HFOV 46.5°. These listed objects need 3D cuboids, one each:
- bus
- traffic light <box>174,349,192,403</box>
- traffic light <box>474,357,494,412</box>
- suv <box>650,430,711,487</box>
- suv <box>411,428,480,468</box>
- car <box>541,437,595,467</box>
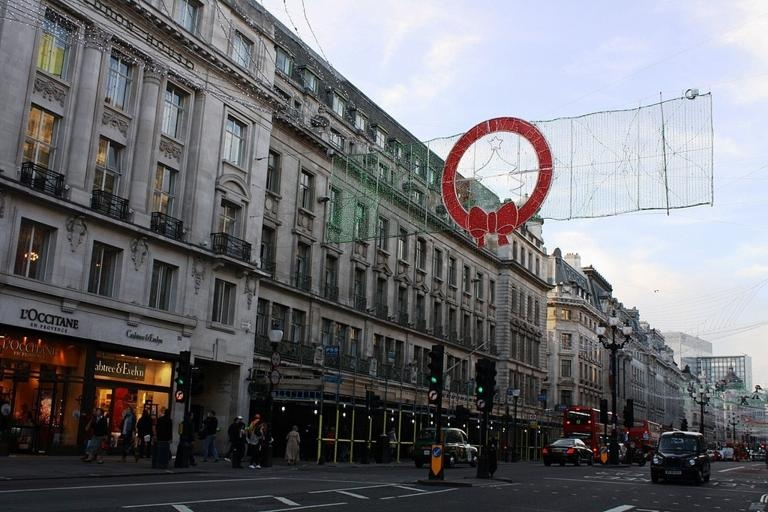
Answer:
[{"bbox_3d":[19.866,15.295,75.201,3.867,4.053,15.282,-10,-21,33],"label":"bus"},{"bbox_3d":[-8.756,5.204,38.764,0.554,2.180,0.760,5,-8,-17],"label":"traffic light"},{"bbox_3d":[4.326,5.788,39.671,0.773,2.369,1.202,2,-7,8],"label":"traffic light"},{"bbox_3d":[14.409,9.633,43.660,2.433,2.089,4.541,-4,-7,34],"label":"suv"},{"bbox_3d":[3.197,11.112,51.962,1.753,2.256,5.197,-2,-9,34],"label":"suv"},{"bbox_3d":[12.183,13.203,60.102,2.555,1.830,3.593,-1,-9,26],"label":"car"}]
